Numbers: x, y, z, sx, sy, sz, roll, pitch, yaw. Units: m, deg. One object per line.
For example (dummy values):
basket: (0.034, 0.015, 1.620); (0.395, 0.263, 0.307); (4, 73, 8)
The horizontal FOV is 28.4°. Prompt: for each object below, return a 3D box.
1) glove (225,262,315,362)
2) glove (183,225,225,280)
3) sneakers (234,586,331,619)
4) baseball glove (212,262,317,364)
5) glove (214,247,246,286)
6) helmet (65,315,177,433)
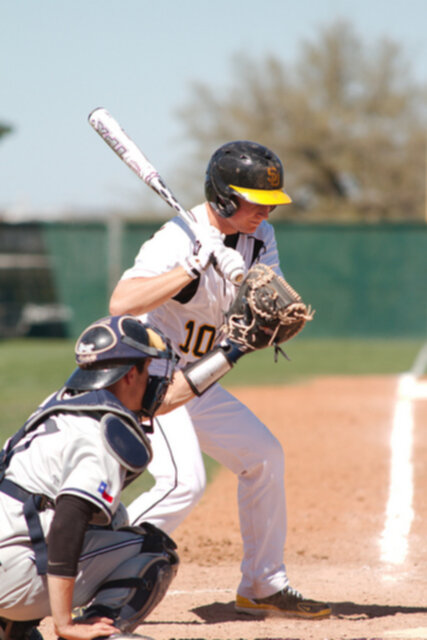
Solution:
glove: (0.152, 0.007, 2.600); (0.290, 0.156, 0.386); (-16, -35, 30)
glove: (-0.035, -0.216, 2.780); (0.113, 0.050, 0.181); (17, 46, -9)
sneakers: (0.260, 1.035, 3.124); (0.351, 0.118, 0.111); (0, -8, 8)
baseball glove: (0.124, -0.034, 2.610); (0.267, 0.312, 0.157); (36, 7, -37)
glove: (0.057, -0.171, 2.698); (0.053, 0.090, 0.129); (-28, 54, -29)
helmet: (-0.257, 0.146, 2.349); (0.326, 0.279, 0.227); (-14, 11, -42)
